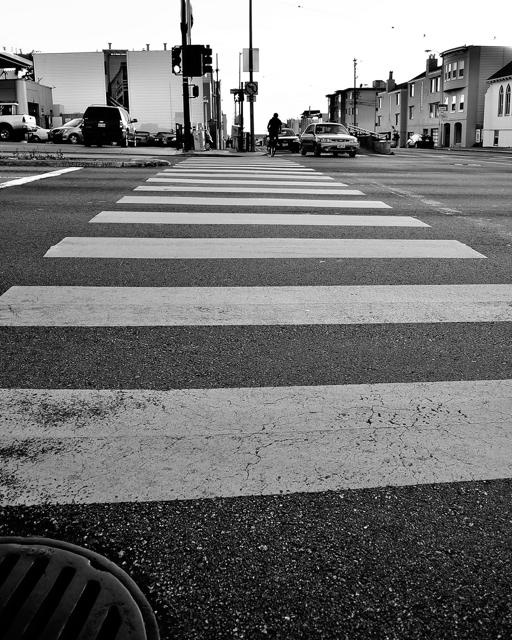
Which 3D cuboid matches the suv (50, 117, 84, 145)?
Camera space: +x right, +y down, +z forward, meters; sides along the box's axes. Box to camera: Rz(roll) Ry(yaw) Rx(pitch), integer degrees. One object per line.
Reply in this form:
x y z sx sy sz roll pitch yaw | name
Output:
-11.834 -11.822 38.765 1.948 1.399 1.776 0 14 -4 | suv

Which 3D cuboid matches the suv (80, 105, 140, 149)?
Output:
-7.416 -10.315 31.980 1.516 1.498 3.267 2 28 -1 | suv
